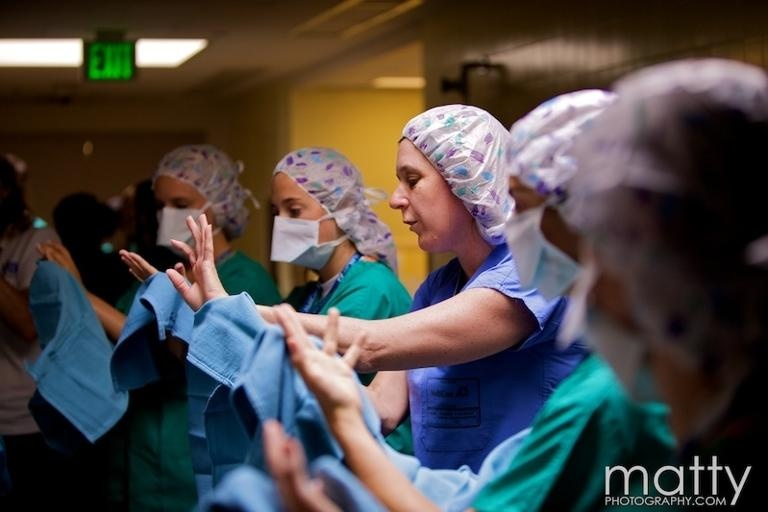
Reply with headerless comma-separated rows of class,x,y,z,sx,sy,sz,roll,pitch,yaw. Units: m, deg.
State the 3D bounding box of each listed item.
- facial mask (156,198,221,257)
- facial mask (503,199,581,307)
facial mask,-0.598,-0.080,2.220,0.145,0.176,0.125,11,17,34
facial mask,0.282,-0.005,1.301,0.078,0.178,0.100,-5,20,-12
